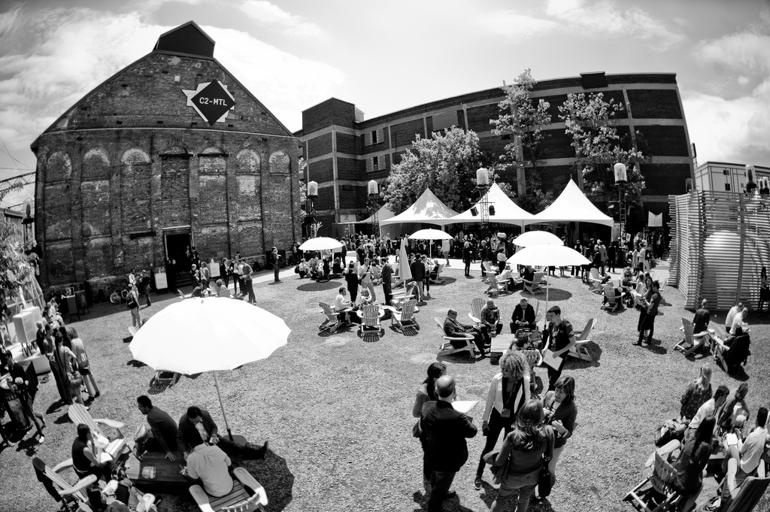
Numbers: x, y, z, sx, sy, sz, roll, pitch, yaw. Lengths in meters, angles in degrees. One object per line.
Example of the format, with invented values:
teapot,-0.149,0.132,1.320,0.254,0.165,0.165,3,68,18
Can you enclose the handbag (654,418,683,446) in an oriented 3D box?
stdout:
handbag,7.615,4.544,14.105,0.847,0.389,0.549,-18,-7,-46

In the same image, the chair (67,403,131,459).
chair,-7.789,4.867,14.486,1.449,1.461,1.046,9,19,2

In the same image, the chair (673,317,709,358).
chair,10.334,2.779,18.199,1.213,1.275,0.948,11,-1,1

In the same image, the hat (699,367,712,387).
hat,8.560,3.223,14.211,0.273,0.575,0.543,2,5,40
